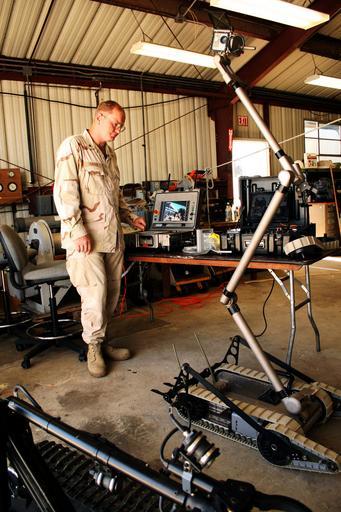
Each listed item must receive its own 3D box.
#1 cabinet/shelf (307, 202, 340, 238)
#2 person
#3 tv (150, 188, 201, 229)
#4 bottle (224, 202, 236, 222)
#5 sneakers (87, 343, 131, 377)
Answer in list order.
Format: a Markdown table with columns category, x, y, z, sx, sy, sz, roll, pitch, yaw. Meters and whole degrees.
| category | x | y | z | sx | sy | sz | roll | pitch | yaw |
| --- | --- | --- | --- | --- | --- | --- | --- | --- | --- |
| cabinet/shelf | 3.010 | -0.670 | 7.496 | 0.617 | 0.726 | 0.374 | -4 | 6 | 2 |
| person | -0.483 | -0.117 | 2.584 | 0.505 | 1.766 | 0.313 | -9 | 7 | -39 |
| tv | 0.050 | -0.399 | 3.349 | 0.423 | 0.332 | 0.085 | 4 | -9 | 40 |
| bottle | 0.893 | -0.662 | 5.747 | 0.160 | 0.273 | 0.316 | -3 | 6 | 10 |
| sneakers | -0.416 | 0.683 | 2.576 | 0.283 | 0.099 | 0.177 | 3 | 12 | 30 |
